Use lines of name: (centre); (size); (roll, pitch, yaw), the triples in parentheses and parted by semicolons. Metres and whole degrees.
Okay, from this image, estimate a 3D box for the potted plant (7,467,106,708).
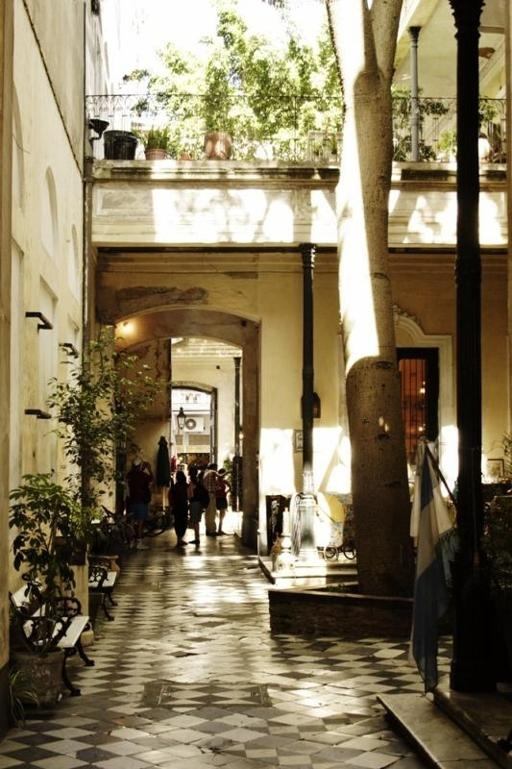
potted plant: (-1.383, 1.428, 5.726); (0.510, 1.901, 1.575); (-1, 5, -7)
